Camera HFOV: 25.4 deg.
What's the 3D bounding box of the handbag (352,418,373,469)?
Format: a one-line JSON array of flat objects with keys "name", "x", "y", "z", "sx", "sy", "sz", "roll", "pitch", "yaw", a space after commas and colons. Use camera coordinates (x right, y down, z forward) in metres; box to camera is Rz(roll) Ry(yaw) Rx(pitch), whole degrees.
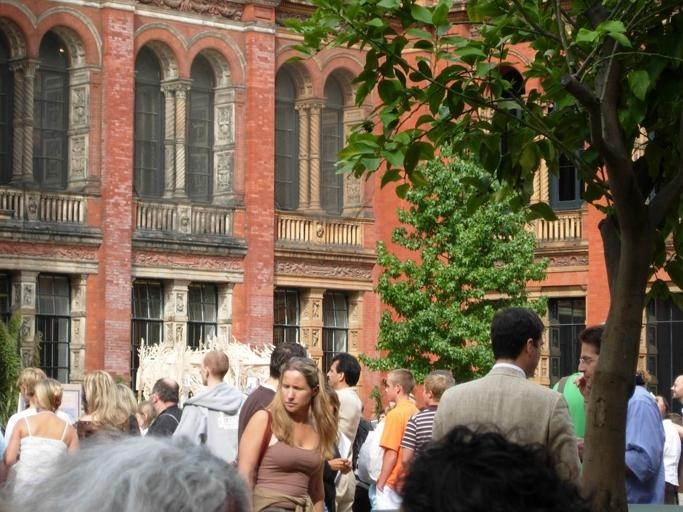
[{"name": "handbag", "x": 0.194, "y": 1.907, "z": 15.418, "sx": 0.164, "sy": 0.436, "sz": 0.329, "roll": 8, "pitch": 1, "yaw": 2}]
